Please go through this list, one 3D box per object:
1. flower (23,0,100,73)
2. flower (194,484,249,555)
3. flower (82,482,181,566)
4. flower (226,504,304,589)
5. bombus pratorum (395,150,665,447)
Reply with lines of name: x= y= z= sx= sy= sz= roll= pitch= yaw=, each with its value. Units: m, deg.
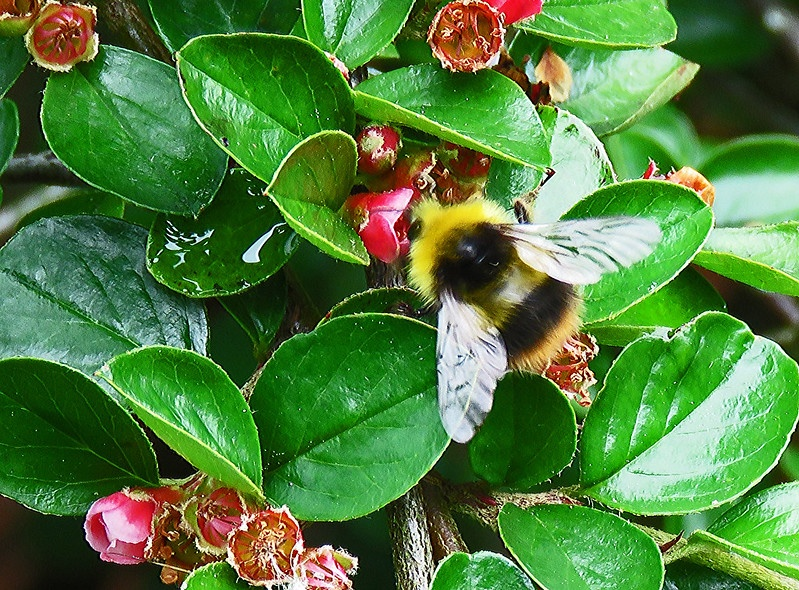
flower: x=-0.400 y=-0.307 z=1.157 sx=0.072 sy=0.085 sz=0.033 roll=44 pitch=2 yaw=-12
flower: x=-0.195 y=0.242 z=1.051 sx=0.045 sy=0.065 sz=0.020 roll=-2 pitch=-24 yaw=6
flower: x=-0.293 y=0.252 z=1.067 sx=0.096 sy=0.075 sz=0.039 roll=-10 pitch=6 yaw=-30
flower: x=-0.141 y=0.267 z=1.030 sx=0.069 sy=0.082 sz=0.026 roll=33 pitch=-13 yaw=2
bombus pratorum: x=0.121 y=-0.027 z=1.165 sx=0.240 sy=0.217 sz=0.247 roll=4 pitch=39 yaw=-50
